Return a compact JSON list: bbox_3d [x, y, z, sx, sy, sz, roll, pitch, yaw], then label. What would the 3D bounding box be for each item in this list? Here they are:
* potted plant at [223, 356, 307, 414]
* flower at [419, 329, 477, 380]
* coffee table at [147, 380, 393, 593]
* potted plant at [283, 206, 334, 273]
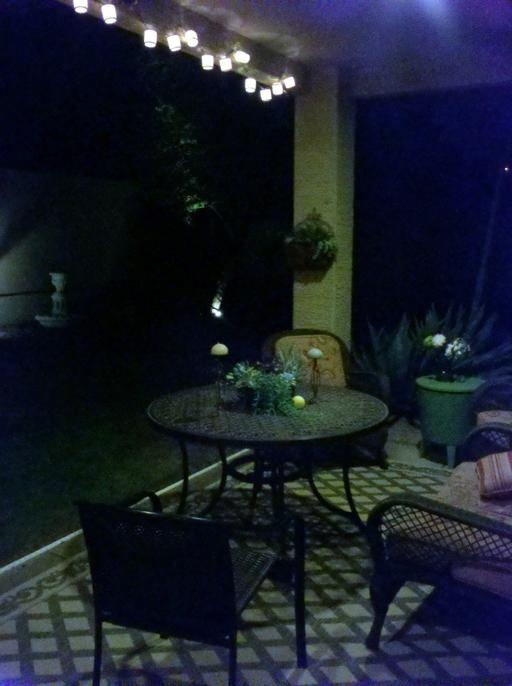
[{"bbox_3d":[0.048,0.199,2.558,0.273,0.147,0.289,8,4,5],"label":"potted plant"},{"bbox_3d":[1.313,0.084,3.892,0.353,0.289,0.356,-5,12,6],"label":"flower"},{"bbox_3d":[0.066,0.674,2.568,0.947,0.498,0.905,-3,16,-8],"label":"coffee table"},{"bbox_3d":[0.406,-0.760,4.194,0.469,0.523,0.427,-4,11,-16],"label":"potted plant"}]
